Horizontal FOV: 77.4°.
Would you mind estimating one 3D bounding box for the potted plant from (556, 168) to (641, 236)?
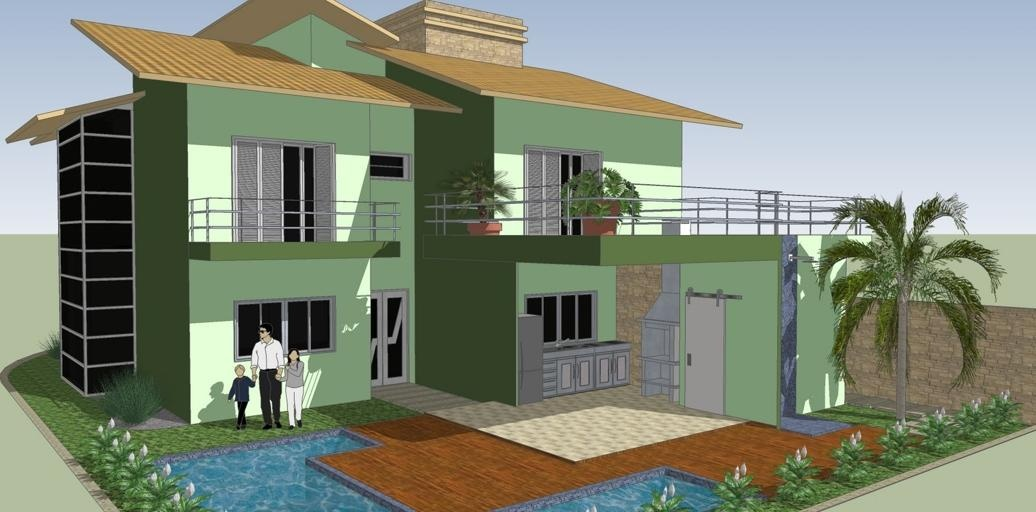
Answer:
[{"bbox_3d":[2.873,-1.950,22.383,3.333,1.934,2.819,0,-2,-12],"label":"potted plant"}]

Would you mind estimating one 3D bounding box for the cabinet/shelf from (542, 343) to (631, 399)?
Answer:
[{"bbox_3d":[2.532,4.553,25.299,2.925,0.984,0.858,-1,0,-33],"label":"cabinet/shelf"}]

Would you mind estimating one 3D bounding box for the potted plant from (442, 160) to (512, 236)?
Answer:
[{"bbox_3d":[-1.943,-2.213,24.835,3.434,2.471,2.921,0,5,3],"label":"potted plant"}]
